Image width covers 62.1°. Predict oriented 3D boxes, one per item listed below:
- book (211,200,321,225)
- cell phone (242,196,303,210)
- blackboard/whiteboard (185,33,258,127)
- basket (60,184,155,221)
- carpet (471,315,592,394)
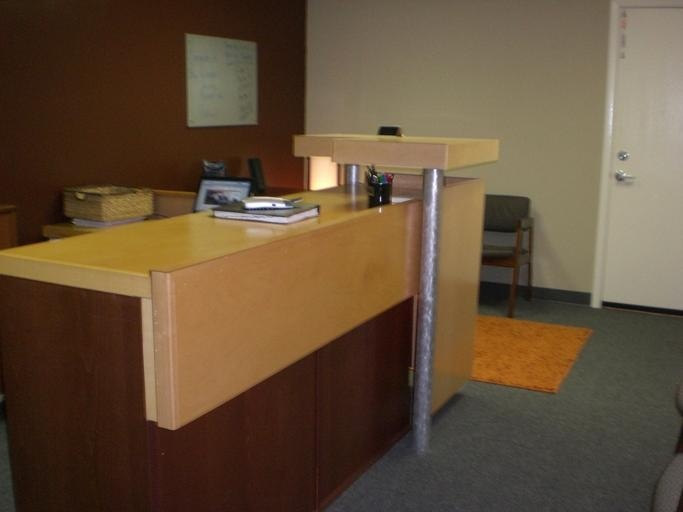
[{"bbox_3d":[-0.347,-0.208,2.627,0.452,0.060,0.283,6,15,20],"label":"book"},{"bbox_3d":[-0.335,-0.237,2.573,0.148,0.039,0.114,2,9,7],"label":"cell phone"},{"bbox_3d":[-1.152,-1.694,5.552,0.090,0.825,0.946,10,18,33],"label":"blackboard/whiteboard"},{"bbox_3d":[-1.715,-0.379,4.234,0.636,0.245,0.331,-6,15,-26],"label":"basket"},{"bbox_3d":[1.508,0.762,4.666,0.946,0.040,1.472,8,16,26],"label":"carpet"}]
